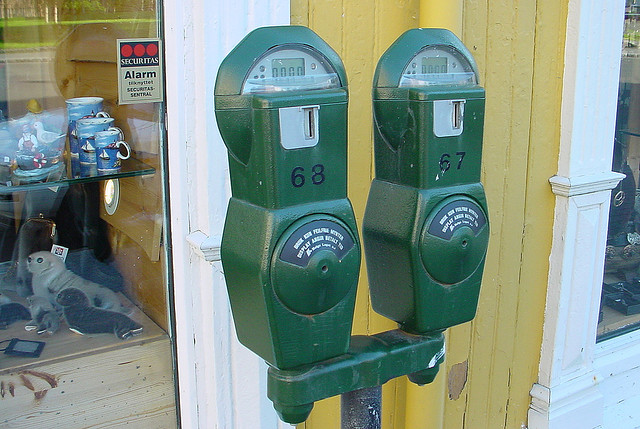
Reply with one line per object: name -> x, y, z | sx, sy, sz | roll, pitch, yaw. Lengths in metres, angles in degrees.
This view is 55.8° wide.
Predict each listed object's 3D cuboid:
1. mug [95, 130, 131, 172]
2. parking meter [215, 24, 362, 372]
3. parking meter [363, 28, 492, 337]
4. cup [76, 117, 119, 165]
mug -> -0.952, -0.293, 2.787 | 0.161, 0.167, 0.104 | 5, 14, 20
parking meter -> -0.107, -0.051, 2.035 | 0.457, 1.132, 0.216 | -5, 12, -11
parking meter -> 0.387, -0.118, 2.243 | 0.460, 1.109, 0.267 | -3, 12, 0
cup -> -1.041, -0.336, 2.812 | 0.186, 0.188, 0.113 | -3, 5, -33
